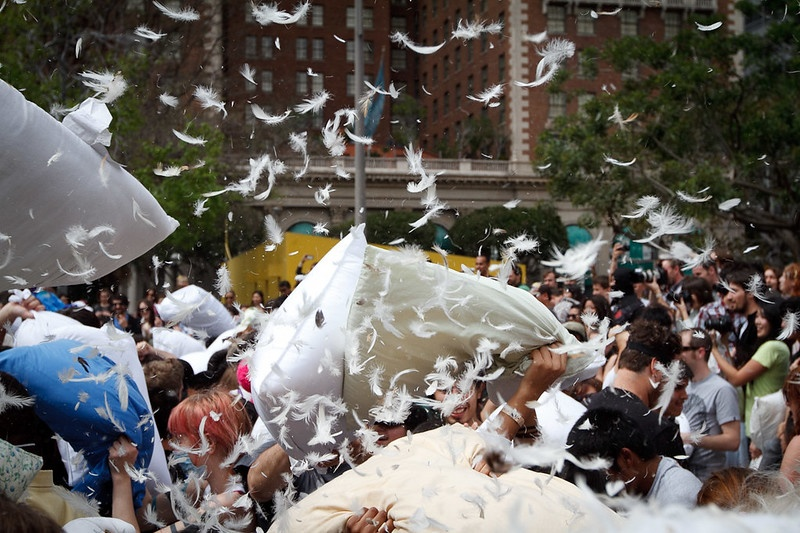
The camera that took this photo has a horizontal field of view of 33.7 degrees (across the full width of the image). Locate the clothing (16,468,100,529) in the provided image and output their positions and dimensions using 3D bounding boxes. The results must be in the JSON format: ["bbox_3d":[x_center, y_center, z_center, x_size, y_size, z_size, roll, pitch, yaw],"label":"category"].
[{"bbox_3d":[-3.776,2.528,14.514,0.737,0.483,0.491,-5,15,-15],"label":"clothing"}]

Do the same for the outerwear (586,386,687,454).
[{"bbox_3d":[2.642,1.801,14.823,0.874,0.383,0.717,29,-17,12],"label":"outerwear"}]

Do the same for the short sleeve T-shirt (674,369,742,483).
[{"bbox_3d":[3.604,1.903,15.631,0.588,1.319,1.049,1,-11,-9],"label":"short sleeve T-shirt"}]

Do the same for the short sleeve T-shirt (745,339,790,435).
[{"bbox_3d":[4.486,1.492,16.091,0.321,0.997,0.796,9,-15,37],"label":"short sleeve T-shirt"}]

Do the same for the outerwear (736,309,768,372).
[{"bbox_3d":[4.583,0.879,17.008,0.152,0.460,0.486,-24,-30,16],"label":"outerwear"}]
